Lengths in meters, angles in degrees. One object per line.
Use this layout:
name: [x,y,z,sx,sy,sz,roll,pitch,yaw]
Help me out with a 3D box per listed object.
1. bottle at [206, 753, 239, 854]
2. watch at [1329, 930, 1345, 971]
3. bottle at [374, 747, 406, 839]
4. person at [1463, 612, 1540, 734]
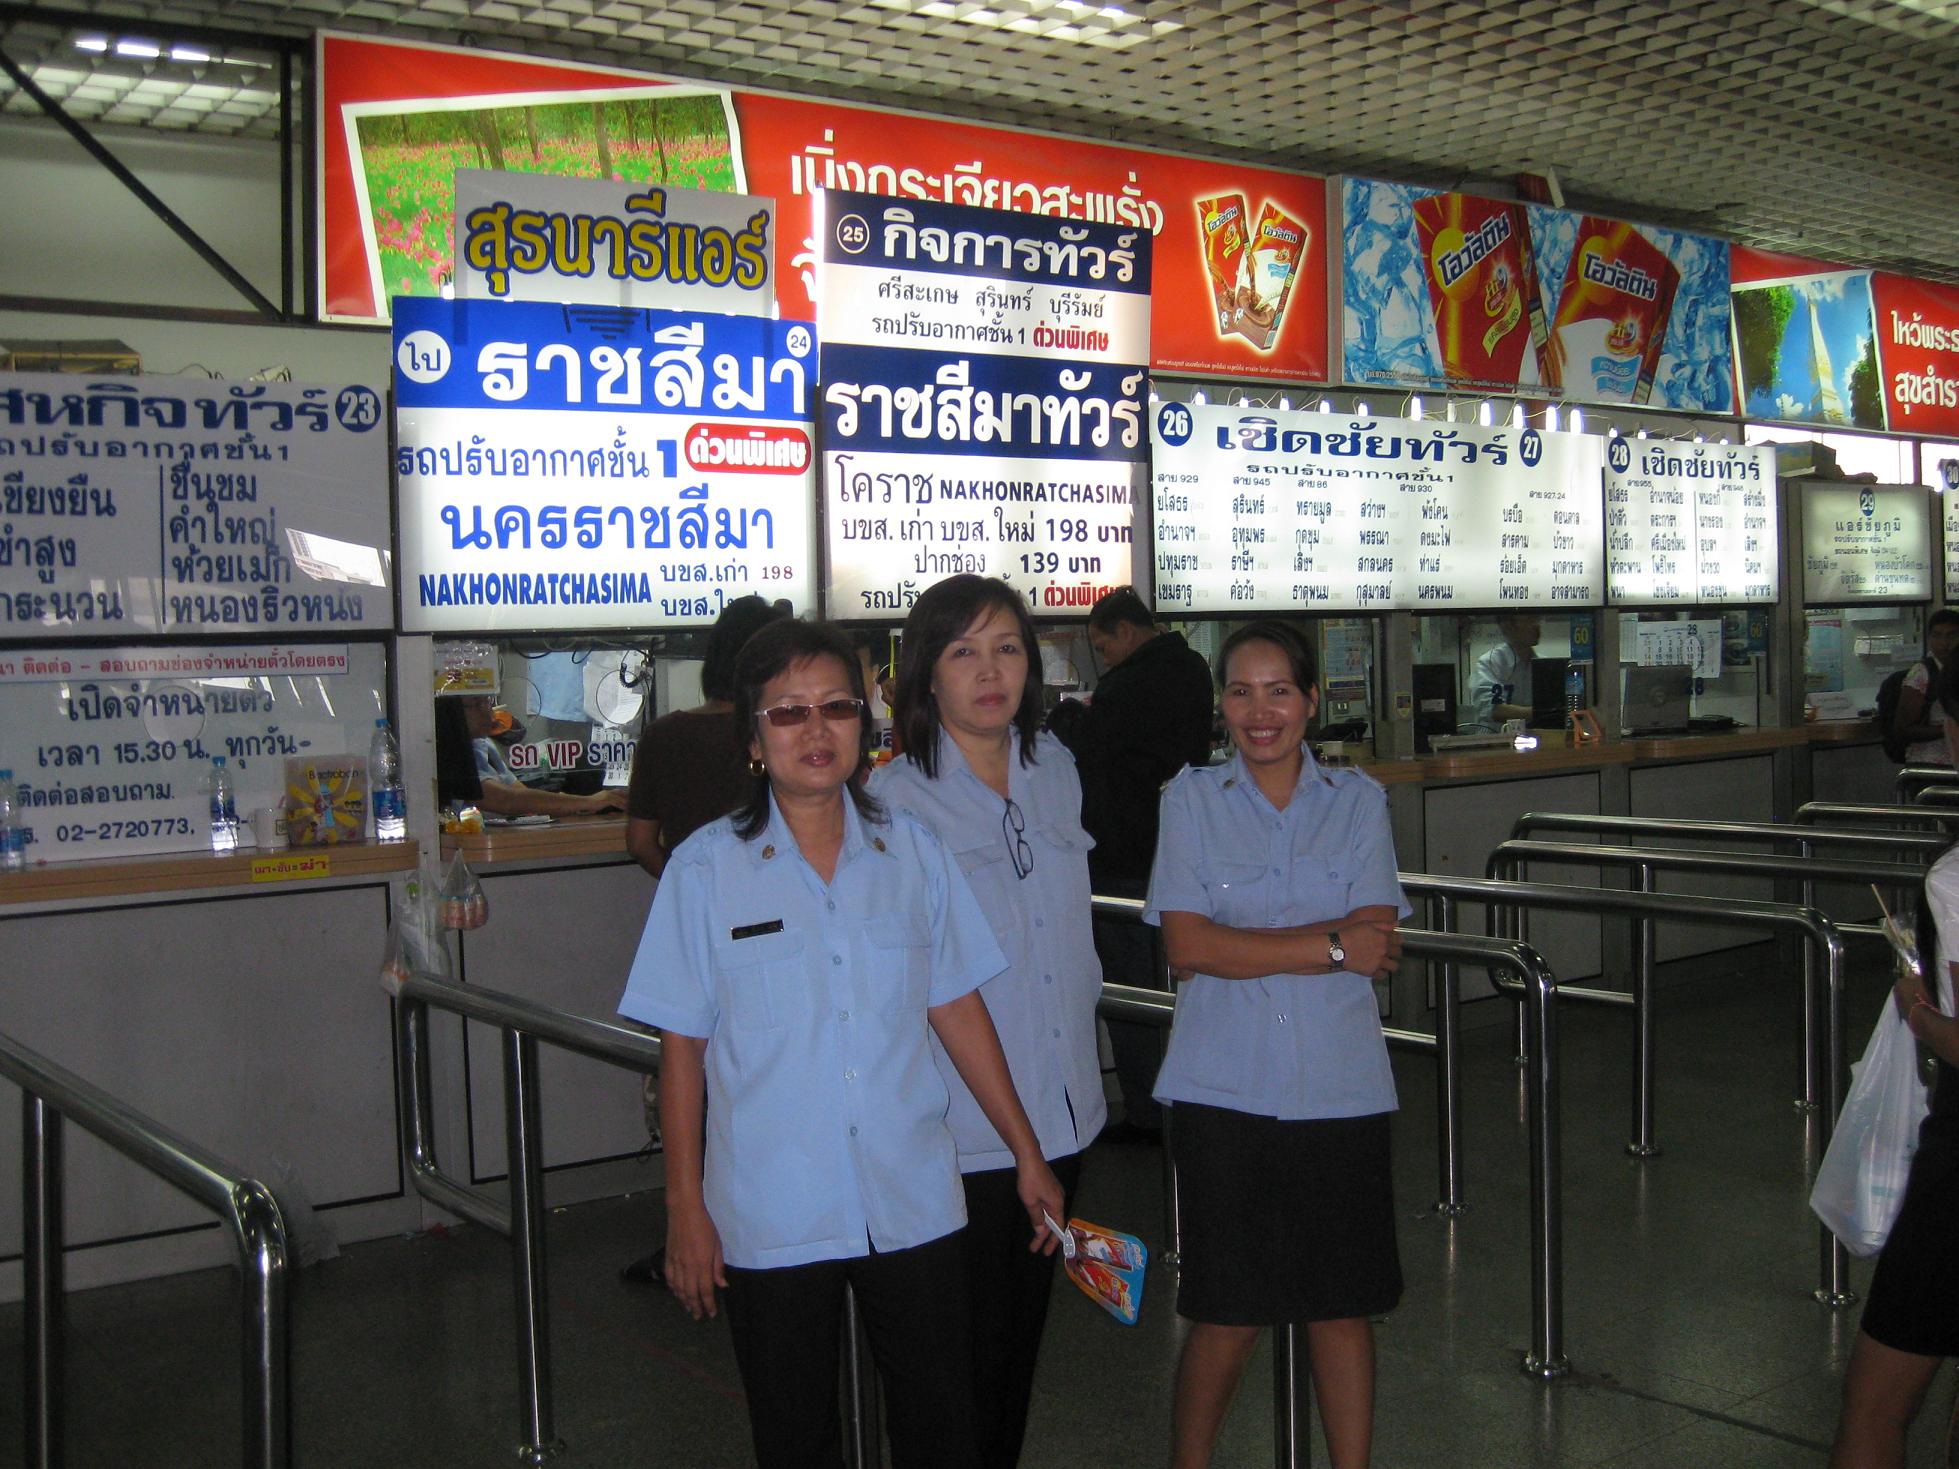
bottle: [-2.401,0.217,5.064,0.093,0.297,0.120,-4,5,-28]
watch: [0.696,0.423,3.074,0.037,0.060,0.051,-1,-3,1]
bottle: [-1.910,0.186,5.130,0.101,0.299,0.069,-1,5,1]
person: [2.903,-0.346,8.809,0.407,0.601,0.771,0,5,19]
